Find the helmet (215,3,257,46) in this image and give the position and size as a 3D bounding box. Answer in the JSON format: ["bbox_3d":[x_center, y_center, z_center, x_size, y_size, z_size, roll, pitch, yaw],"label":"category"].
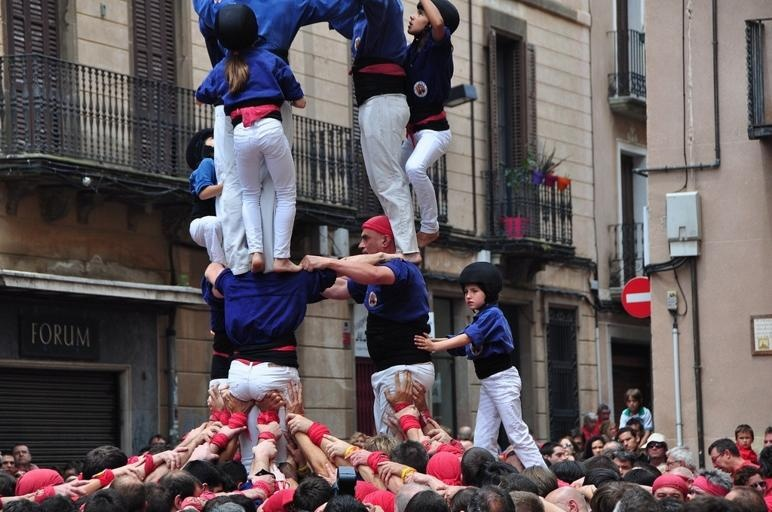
[{"bbox_3d":[-2.065,-3.134,30.400,0.496,0.592,0.347,-5,-23,3],"label":"helmet"}]

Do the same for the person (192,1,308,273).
[{"bbox_3d":[-1.863,-1.615,30.606,1.263,3.571,1.030,4,-15,-26],"label":"person"}]

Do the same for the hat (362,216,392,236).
[{"bbox_3d":[-0.156,-0.432,31.385,0.384,0.192,0.252,-11,7,-9],"label":"hat"}]

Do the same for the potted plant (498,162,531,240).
[{"bbox_3d":[2.566,-1.094,45.353,0.552,1.360,0.224,-3,-13,3],"label":"potted plant"}]

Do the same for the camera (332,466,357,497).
[{"bbox_3d":[-0.560,2.908,29.219,0.267,0.433,0.542,-2,-12,-2],"label":"camera"}]
